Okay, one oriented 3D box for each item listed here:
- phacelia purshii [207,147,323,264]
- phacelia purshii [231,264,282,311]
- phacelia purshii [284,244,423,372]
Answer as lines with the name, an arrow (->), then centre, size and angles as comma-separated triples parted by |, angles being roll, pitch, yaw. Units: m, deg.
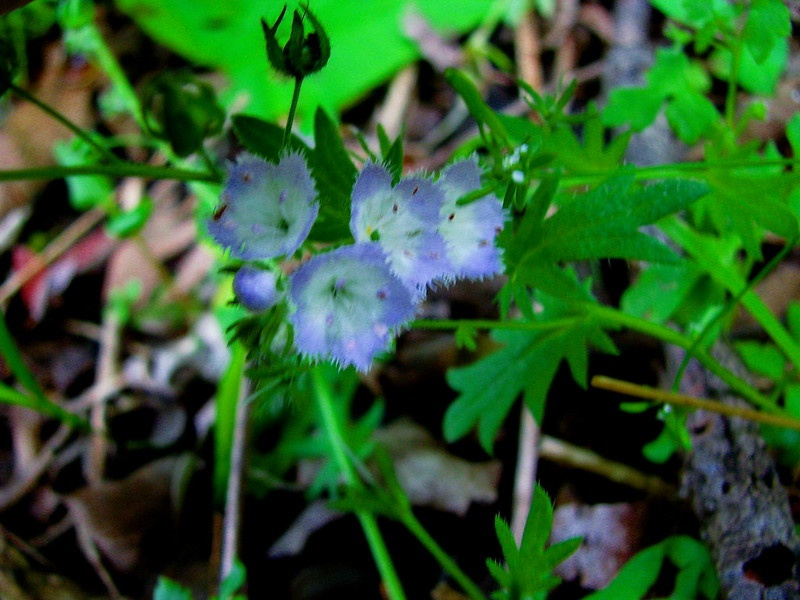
phacelia purshii -> -0.220, -0.136, 1.412 | 0.150, 0.083, 0.190 | 16, 91, 15
phacelia purshii -> -0.227, -0.020, 1.401 | 0.061, 0.075, 0.038 | -24, 3, 1
phacelia purshii -> -0.073, 0.006, 1.395 | 0.191, 0.227, 0.101 | -27, 42, -13
